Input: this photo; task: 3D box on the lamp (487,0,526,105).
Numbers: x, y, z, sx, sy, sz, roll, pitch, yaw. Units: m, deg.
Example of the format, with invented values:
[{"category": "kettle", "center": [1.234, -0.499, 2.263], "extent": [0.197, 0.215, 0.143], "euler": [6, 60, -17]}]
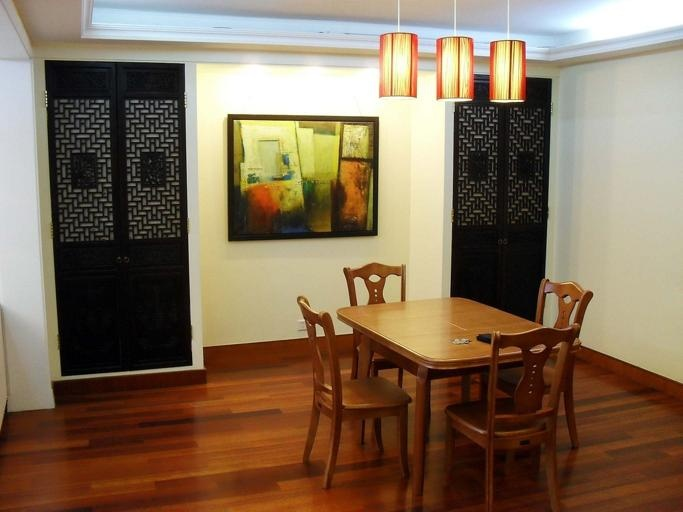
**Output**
[{"category": "lamp", "center": [1.076, -1.192, 3.468], "extent": [0.224, 0.379, 0.151], "euler": [3, 11, 16]}]

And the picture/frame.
[{"category": "picture/frame", "center": [-0.480, -0.853, 5.597], "extent": [1.278, 1.079, 0.051], "euler": [-2, 10, -16]}]

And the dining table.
[{"category": "dining table", "center": [0.772, 0.669, 3.765], "extent": [1.070, 0.801, 1.382], "euler": [-5, 14, -22]}]

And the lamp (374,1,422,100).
[{"category": "lamp", "center": [0.365, -1.211, 3.434], "extent": [0.242, 0.392, 0.157], "euler": [0, 10, 2]}]

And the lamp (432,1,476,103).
[{"category": "lamp", "center": [0.734, -1.209, 3.476], "extent": [0.223, 0.385, 0.119], "euler": [3, 11, 17]}]
